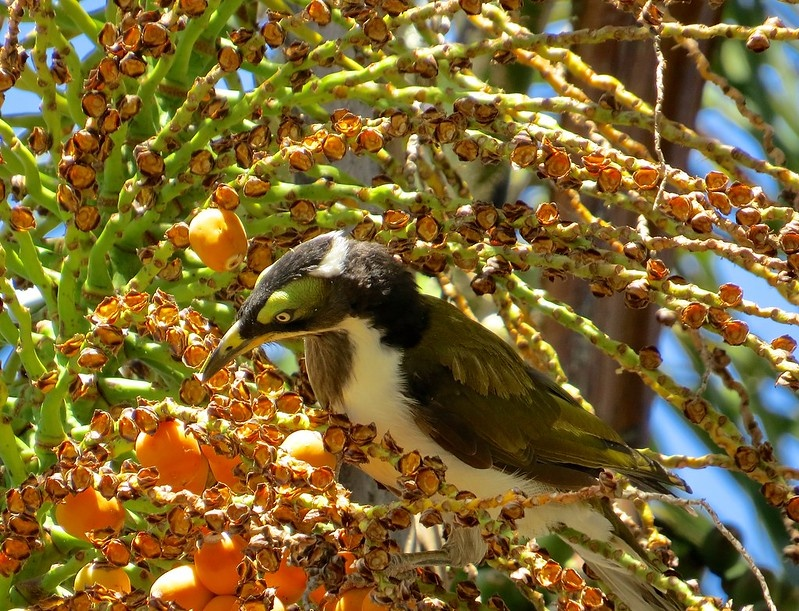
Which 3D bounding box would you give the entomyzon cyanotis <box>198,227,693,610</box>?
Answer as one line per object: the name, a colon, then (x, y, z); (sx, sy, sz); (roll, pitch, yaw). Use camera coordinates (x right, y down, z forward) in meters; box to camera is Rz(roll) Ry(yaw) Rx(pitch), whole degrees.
entomyzon cyanotis: (-0.179, 0.329, 3.039); (1.865, 1.157, 0.606); (7, -15, -22)
